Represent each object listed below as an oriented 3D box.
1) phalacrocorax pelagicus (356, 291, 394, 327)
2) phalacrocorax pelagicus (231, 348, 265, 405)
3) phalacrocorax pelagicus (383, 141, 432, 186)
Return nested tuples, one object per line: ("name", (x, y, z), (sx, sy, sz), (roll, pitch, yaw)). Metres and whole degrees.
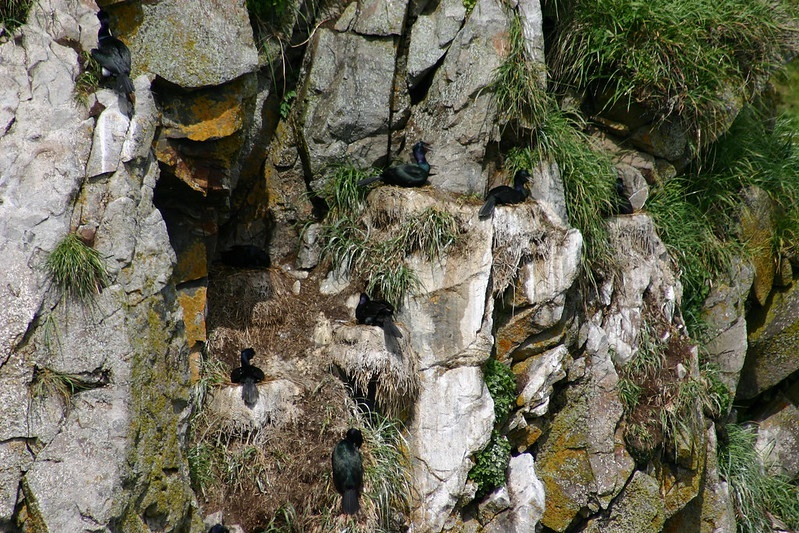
("phalacrocorax pelagicus", (-0.290, 0.518, 20.273), (0.521, 0.344, 0.497), (-9, 67, 20))
("phalacrocorax pelagicus", (-1.854, 1.329, 19.934), (0.396, 0.378, 0.844), (-3, 30, -9))
("phalacrocorax pelagicus", (0.053, -1.278, 20.863), (0.696, 0.495, 0.638), (1, 88, -16))
